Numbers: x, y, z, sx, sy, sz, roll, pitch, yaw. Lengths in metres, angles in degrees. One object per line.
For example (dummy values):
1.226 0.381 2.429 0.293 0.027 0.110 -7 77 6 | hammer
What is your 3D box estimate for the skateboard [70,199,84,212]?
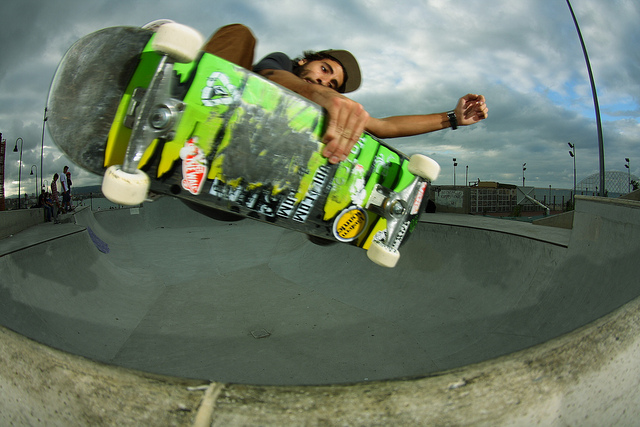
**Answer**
-8.053 -0.303 12.940 0.153 0.077 0.591 10 43 14 | skateboard
